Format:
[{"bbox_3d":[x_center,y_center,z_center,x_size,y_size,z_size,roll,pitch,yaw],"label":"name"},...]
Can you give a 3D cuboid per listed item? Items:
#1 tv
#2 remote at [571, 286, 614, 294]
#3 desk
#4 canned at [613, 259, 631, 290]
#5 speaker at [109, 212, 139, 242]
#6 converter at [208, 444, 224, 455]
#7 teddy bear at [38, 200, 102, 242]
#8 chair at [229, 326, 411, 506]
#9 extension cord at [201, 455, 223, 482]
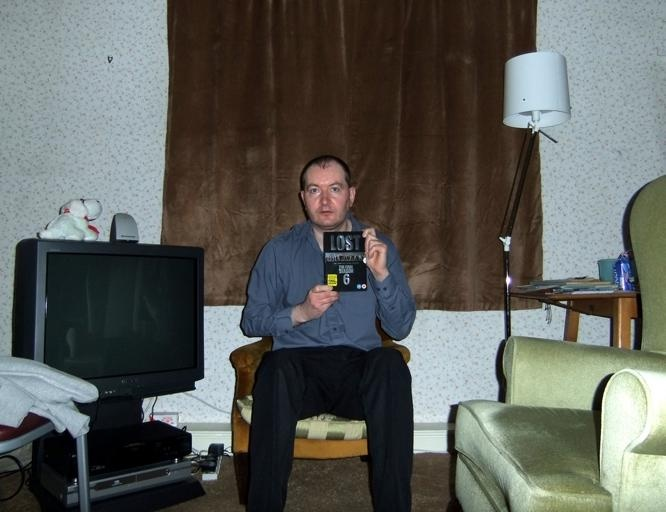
[{"bbox_3d":[-1.065,0.301,3.090,0.786,0.742,0.433,1,0,-33],"label":"tv"},{"bbox_3d":[1.249,0.159,2.993,0.220,0.032,0.099,-1,0,2],"label":"remote"},{"bbox_3d":[1.202,0.225,3.116,0.448,0.462,0.454,-6,-10,45],"label":"desk"},{"bbox_3d":[1.427,0.078,3.106,0.071,0.182,0.073,-9,28,18],"label":"canned"},{"bbox_3d":[-1.020,-0.142,3.072,0.092,0.175,0.164,0,1,-23],"label":"speaker"},{"bbox_3d":[-0.599,0.982,3.220,0.053,0.041,0.042,0,18,2],"label":"converter"},{"bbox_3d":[-1.262,-0.152,3.074,0.200,0.282,0.121,16,-41,-12],"label":"teddy bear"},{"bbox_3d":[-0.056,0.797,3.041,0.645,0.892,0.722,1,-19,-4],"label":"chair"},{"bbox_3d":[-0.595,1.053,3.199,0.085,0.072,0.207,-1,0,14],"label":"extension cord"}]
